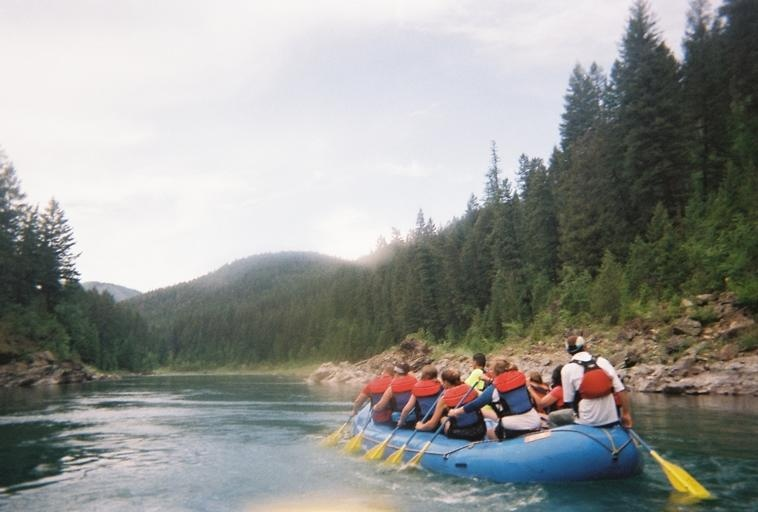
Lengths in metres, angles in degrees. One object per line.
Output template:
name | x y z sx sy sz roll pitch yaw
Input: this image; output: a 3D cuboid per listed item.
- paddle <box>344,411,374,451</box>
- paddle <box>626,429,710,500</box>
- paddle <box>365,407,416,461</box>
paddle | -0.973 8.824 31.354 0.563 0.567 1.988 -12 -24 -29
paddle | 12.598 9.169 27.180 0.622 3.091 0.387 -37 -15 -17
paddle | 0.607 8.493 29.599 0.307 0.717 3.102 21 -60 -33
